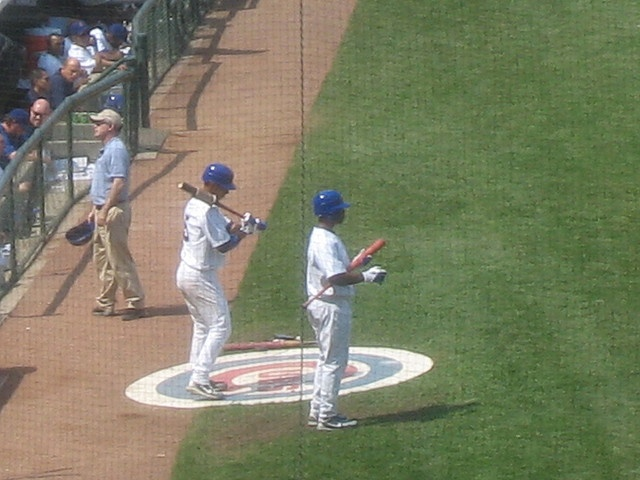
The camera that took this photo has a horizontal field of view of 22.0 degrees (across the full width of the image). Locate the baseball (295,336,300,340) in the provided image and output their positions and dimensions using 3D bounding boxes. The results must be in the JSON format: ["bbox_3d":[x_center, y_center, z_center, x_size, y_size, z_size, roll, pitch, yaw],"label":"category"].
[{"bbox_3d":[-0.243,1.288,21.147,0.049,0.036,0.076,0,-10,-3],"label":"baseball"}]

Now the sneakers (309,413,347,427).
[{"bbox_3d":[0.166,2.181,19.543,0.325,0.084,0.204,-2,1,-7],"label":"sneakers"}]

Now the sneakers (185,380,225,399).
[{"bbox_3d":[-1.362,1.869,20.023,0.537,0.225,0.158,8,41,-20],"label":"sneakers"}]

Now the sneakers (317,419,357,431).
[{"bbox_3d":[0.222,2.216,19.529,0.512,0.153,0.149,-3,4,-14],"label":"sneakers"}]

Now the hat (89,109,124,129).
[{"bbox_3d":[-2.657,-1.544,21.112,0.396,0.149,0.230,11,-2,-12],"label":"hat"}]

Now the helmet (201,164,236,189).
[{"bbox_3d":[-1.139,-0.750,20.018,0.418,0.174,0.271,7,23,-35],"label":"helmet"}]

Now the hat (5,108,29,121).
[{"bbox_3d":[-4.149,-1.750,23.189,0.237,0.117,0.255,2,2,26],"label":"hat"}]

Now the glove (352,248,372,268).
[{"bbox_3d":[0.461,0.246,19.469,0.266,0.080,0.187,-30,-1,15],"label":"glove"}]

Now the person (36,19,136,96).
[{"bbox_3d":[-3.378,-2.935,25.155,1.474,0.681,1.063,-35,28,-15],"label":"person"}]

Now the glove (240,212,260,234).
[{"bbox_3d":[-0.851,-0.143,20.355,0.281,0.225,0.095,22,-24,-38],"label":"glove"}]

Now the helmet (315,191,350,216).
[{"bbox_3d":[0.151,-0.432,19.541,0.423,0.159,0.267,-7,10,-15],"label":"helmet"}]

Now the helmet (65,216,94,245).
[{"bbox_3d":[-3.054,-0.081,22.020,0.487,0.176,0.284,-17,43,35],"label":"helmet"}]

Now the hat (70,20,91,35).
[{"bbox_3d":[-3.644,-3.242,25.272,0.218,0.155,0.312,-35,20,-37],"label":"hat"}]

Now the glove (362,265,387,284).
[{"bbox_3d":[0.671,0.444,19.960,0.335,0.117,0.385,0,3,9],"label":"glove"}]
